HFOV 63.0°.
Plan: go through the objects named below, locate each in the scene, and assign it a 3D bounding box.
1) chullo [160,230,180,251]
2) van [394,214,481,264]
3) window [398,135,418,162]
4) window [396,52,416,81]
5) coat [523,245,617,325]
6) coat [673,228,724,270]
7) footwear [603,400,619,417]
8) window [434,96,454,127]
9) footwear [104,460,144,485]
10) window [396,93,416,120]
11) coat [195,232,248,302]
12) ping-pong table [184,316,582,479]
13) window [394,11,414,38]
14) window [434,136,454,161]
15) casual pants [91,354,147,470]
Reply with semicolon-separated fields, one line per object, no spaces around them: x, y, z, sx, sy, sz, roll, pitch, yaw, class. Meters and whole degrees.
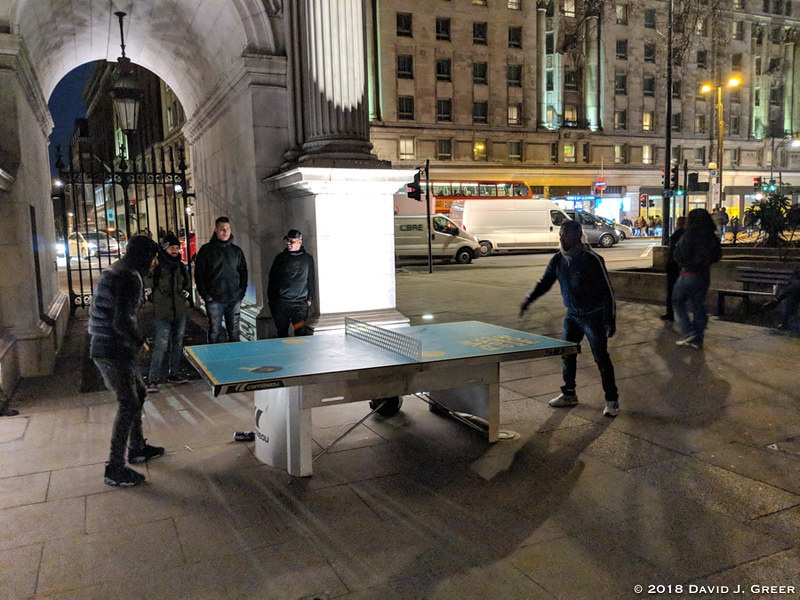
-3.325;-0.878;9.585;0.236;0.278;0.325;12;-1;-37;chullo
1.404;-2.578;27.780;3.064;1.723;1.972;-3;8;-3;van
0.376;-10.030;43.229;1.287;2.016;1.355;1;11;2;window
0.316;-15.161;42.153;1.718;2.269;0.176;-3;5;-23;window
2.081;-0.211;7.766;1.038;0.897;0.386;8;16;34;coat
4.725;-0.760;10.393;0.815;0.848;0.534;-1;5;-3;coat
2.468;1.248;7.640;0.183;0.170;0.288;3;14;18;footwear
2.865;-12.573;43.531;1.916;2.413;0.193;-2;3;-24;window
-2.630;1.647;6.360;0.403;0.309;0.175;-1;9;-16;footwear
0.338;-12.653;42.527;1.654;2.109;0.170;-2;12;-9;window
-2.694;-0.465;9.840;0.734;1.026;0.305;-6;14;-20;coat
-0.337;0.923;6.842;3.404;1.321;1.509;-6;14;-18;ping-pong table
0.199;-17.722;41.889;1.651;2.021;0.132;-4;3;-25;window
2.904;-10.267;43.824;1.514;1.994;0.149;-3;5;-21;window
-2.767;1.132;6.509;0.383;1.154;0.711;-3;13;-8;casual pants
